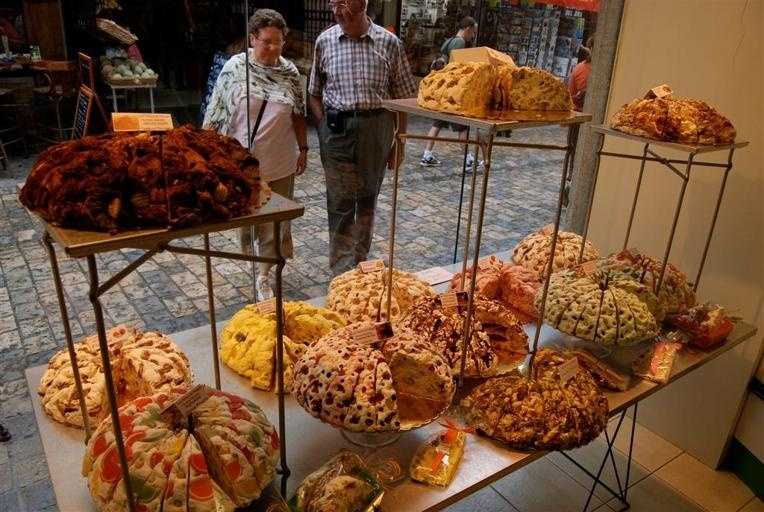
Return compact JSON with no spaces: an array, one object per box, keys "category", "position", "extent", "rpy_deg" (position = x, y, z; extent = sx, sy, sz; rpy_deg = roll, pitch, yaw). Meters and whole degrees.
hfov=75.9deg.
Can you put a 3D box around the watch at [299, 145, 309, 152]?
[{"category":"watch","position":[-0.539,-0.742,3.373],"extent":[0.054,0.024,0.042],"rpy_deg":[-4,27,-7]}]

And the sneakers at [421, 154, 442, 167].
[{"category":"sneakers","position":[0.442,-0.859,4.407],"extent":[0.181,0.098,0.079],"rpy_deg":[-1,42,-4]}]

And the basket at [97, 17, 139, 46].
[{"category":"basket","position":[-1.448,-1.240,2.691],"extent":[0.158,0.056,0.123],"rpy_deg":[31,2,-12]}]

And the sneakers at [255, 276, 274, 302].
[{"category":"sneakers","position":[-0.843,0.238,3.500],"extent":[0.078,0.074,0.172],"rpy_deg":[-14,54,-22]}]
